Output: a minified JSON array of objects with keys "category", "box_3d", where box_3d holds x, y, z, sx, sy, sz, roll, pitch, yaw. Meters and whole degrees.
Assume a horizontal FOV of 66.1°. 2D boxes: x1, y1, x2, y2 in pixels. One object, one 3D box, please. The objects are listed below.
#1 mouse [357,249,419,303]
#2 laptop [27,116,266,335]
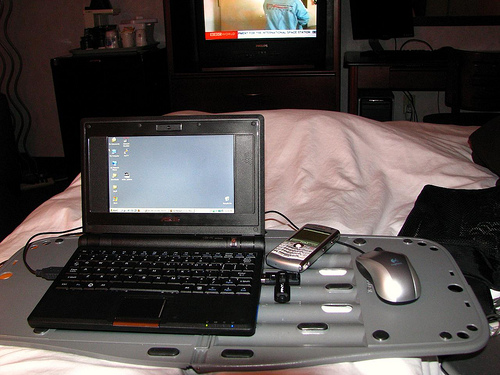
[{"category":"mouse","box_3d":[0.233,0.135,0.646,0.081,0.037,0.126,-6,32,-11]},{"category":"laptop","box_3d":[-0.162,0.037,0.669,0.372,0.269,0.318,0,21,4]}]
